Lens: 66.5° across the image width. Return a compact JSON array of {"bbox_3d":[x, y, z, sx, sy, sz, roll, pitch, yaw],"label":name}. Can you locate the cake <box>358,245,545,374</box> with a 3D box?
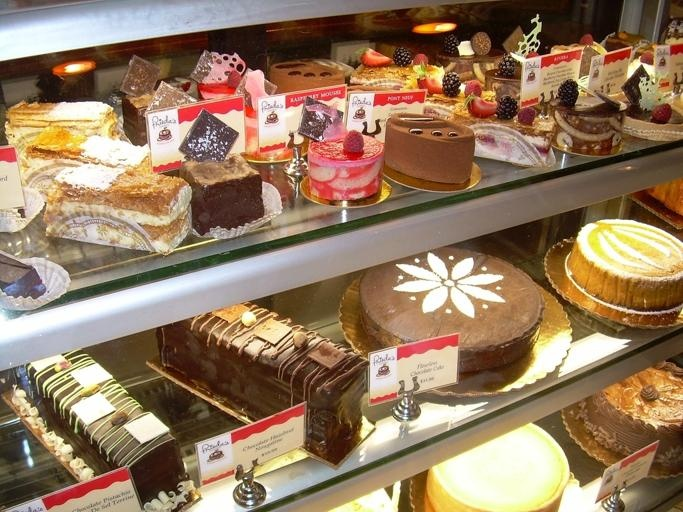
[{"bbox_3d":[0.422,0.179,2.017,0.526,0.124,0.511,-21,38,-35],"label":"cake"}]
